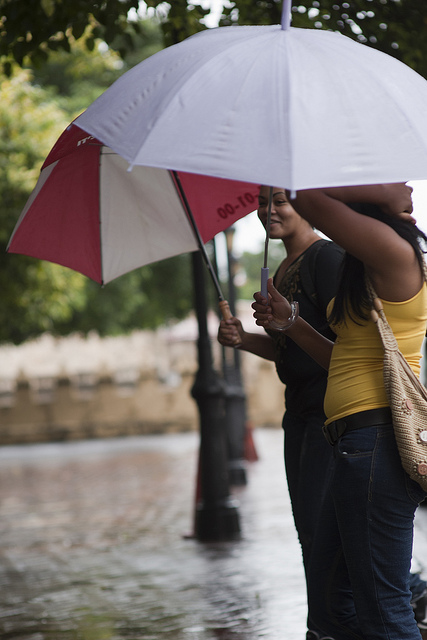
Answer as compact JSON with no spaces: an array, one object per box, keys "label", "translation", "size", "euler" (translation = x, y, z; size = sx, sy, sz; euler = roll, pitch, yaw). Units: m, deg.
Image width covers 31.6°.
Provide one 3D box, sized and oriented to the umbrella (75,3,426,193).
[{"label":"umbrella","translation":[0.068,-0.519,1.876],"size":[0.772,0.282,0.730],"euler":[15,16,20]}]
